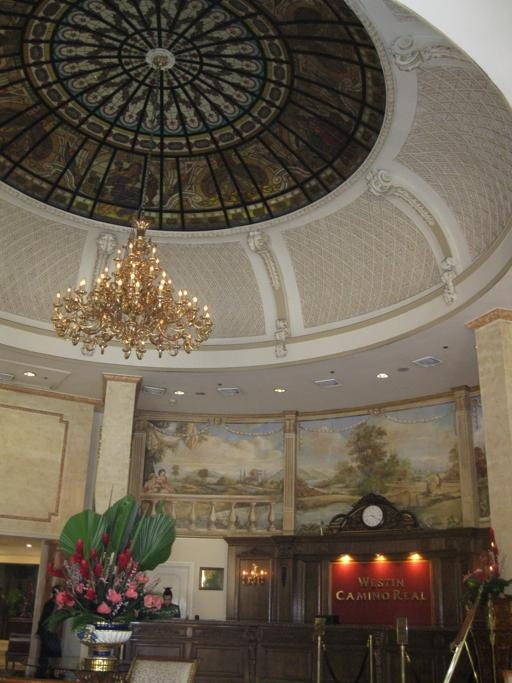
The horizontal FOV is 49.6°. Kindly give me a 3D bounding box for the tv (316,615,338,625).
[{"bbox_3d":[1.402,5.548,10.990,0.339,0.188,1.186,-4,-23,12],"label":"tv"}]

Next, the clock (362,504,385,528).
[{"bbox_3d":[2.600,3.893,12.315,0.503,0.488,0.110,-19,-31,40],"label":"clock"}]

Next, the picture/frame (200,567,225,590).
[{"bbox_3d":[-1.042,5.580,12.999,0.536,0.480,0.036,1,-33,-1],"label":"picture/frame"}]

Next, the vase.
[{"bbox_3d":[-1.178,2.309,4.234,0.437,0.313,0.419,10,-31,-18],"label":"vase"}]
